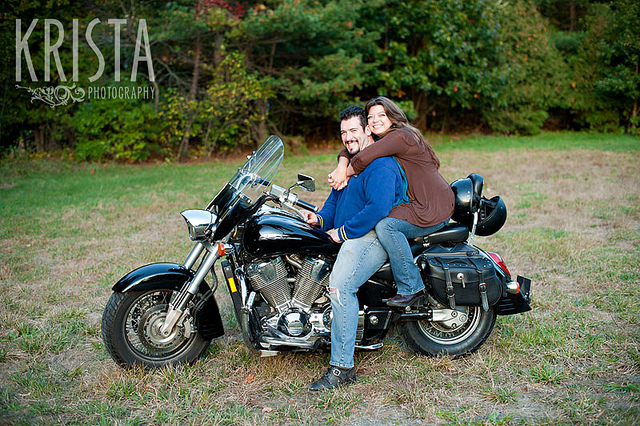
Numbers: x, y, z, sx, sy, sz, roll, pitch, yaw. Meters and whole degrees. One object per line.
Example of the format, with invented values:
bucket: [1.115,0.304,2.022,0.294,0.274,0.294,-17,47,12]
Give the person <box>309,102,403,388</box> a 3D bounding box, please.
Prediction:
person: [0.421,0.365,8.089,1.039,3.206,0.989,1,11,-1]

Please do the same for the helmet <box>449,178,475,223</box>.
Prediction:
helmet: [1.786,-0.150,8.393,0.338,0.499,0.476,7,0,13]

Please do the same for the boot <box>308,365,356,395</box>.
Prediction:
boot: [0.141,1.937,8.003,0.608,0.291,0.238,-12,14,-11]

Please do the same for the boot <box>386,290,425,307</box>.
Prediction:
boot: [1.026,1.013,8.085,0.504,0.240,0.188,3,3,-5]
